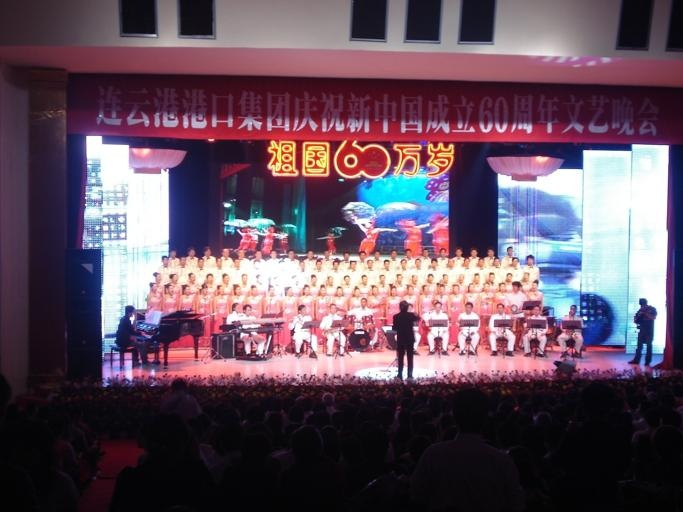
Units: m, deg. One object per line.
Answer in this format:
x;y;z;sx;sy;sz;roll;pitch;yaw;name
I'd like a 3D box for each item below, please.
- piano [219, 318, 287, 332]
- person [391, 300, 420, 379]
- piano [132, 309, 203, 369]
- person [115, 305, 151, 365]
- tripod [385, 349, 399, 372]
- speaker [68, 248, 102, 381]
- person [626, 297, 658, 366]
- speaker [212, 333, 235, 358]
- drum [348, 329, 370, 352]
-1.776;1.406;15.615;1.216;0.291;0.809;0;-1;-9;piano
1.163;1.491;13.640;0.480;1.296;0.414;3;4;36;person
-3.276;1.585;14.773;1.165;1.054;0.722;1;-1;-36;piano
-4.005;1.490;14.796;0.596;1.045;0.527;-4;12;-21;person
1.013;2.031;14.826;0.343;0.452;0.333;3;-10;1;tripod
-4.287;0.969;12.728;0.557;2.155;0.188;0;-1;-20;speaker
6.128;1.481;15.428;0.424;1.449;0.471;-2;4;-36;person
-2.385;1.823;15.588;0.491;0.683;0.376;-2;3;-17;speaker
0.383;1.777;16.211;0.418;0.449;0.232;0;-1;-3;drum
